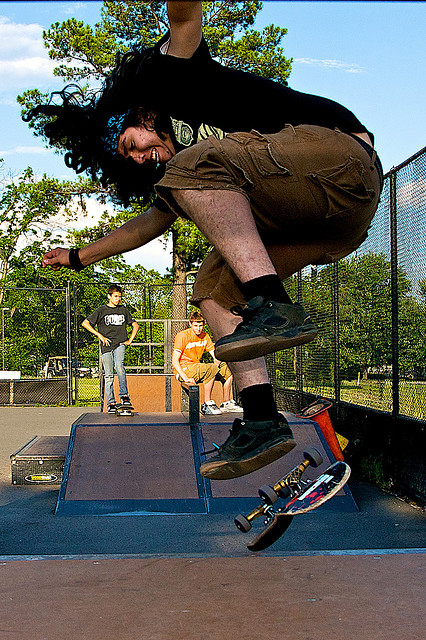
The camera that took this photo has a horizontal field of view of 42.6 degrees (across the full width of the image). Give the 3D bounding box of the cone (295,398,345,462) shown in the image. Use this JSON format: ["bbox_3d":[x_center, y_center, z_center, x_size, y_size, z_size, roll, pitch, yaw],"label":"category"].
[{"bbox_3d":[1.020,1.058,5.391,0.419,0.565,0.710,-2,-10,8],"label":"cone"}]

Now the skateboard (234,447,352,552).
[{"bbox_3d":[0.354,0.699,2.236,0.099,0.345,0.711,46,13,22],"label":"skateboard"}]

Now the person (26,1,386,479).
[{"bbox_3d":[0.019,-0.228,1.787,0.781,1.431,1.051,5,-11,-27],"label":"person"}]
